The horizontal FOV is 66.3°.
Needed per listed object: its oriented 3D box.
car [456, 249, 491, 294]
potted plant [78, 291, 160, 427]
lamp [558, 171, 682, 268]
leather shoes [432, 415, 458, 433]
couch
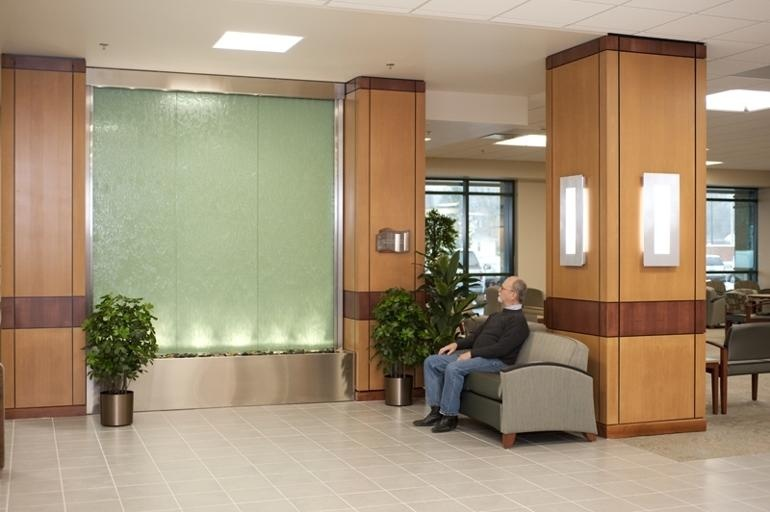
[{"bbox_3d":[2.311,0.619,16.646,1.109,0.927,1.874,9,-13,4],"label":"car"},{"bbox_3d":[-3.327,1.262,7.382,0.814,1.567,0.828,0,1,-26],"label":"potted plant"},{"bbox_3d":[2.828,-0.437,6.869,1.283,0.949,0.466,1,-3,-6],"label":"lamp"},{"bbox_3d":[0.719,1.972,6.998,0.304,0.168,0.185,0,1,-4],"label":"leather shoes"},{"bbox_3d":[1.675,1.499,7.316,1.200,1.072,1.796,0,0,-10],"label":"couch"}]
